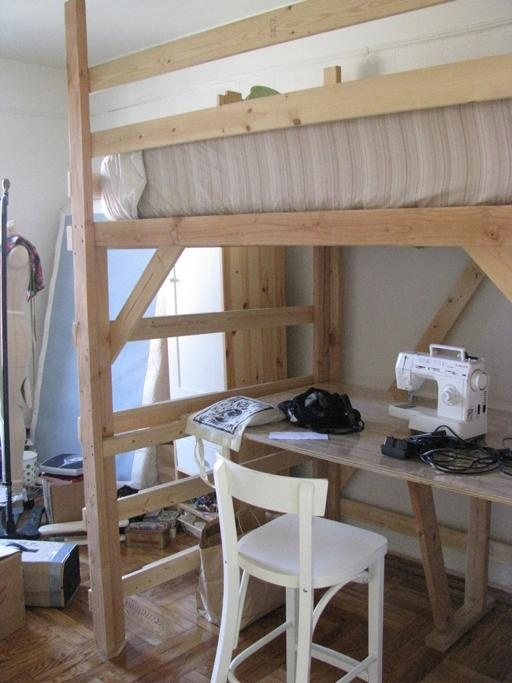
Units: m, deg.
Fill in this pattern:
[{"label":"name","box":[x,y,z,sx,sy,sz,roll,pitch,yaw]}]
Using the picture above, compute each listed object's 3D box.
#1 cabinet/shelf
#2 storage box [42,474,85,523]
[{"label":"cabinet/shelf","box":[-0.233,0.040,3.212,0.561,1.397,0.359,12,22,37]},{"label":"storage box","box":[-1.012,0.872,3.174,0.205,0.221,0.247,0,-20,-8]}]
